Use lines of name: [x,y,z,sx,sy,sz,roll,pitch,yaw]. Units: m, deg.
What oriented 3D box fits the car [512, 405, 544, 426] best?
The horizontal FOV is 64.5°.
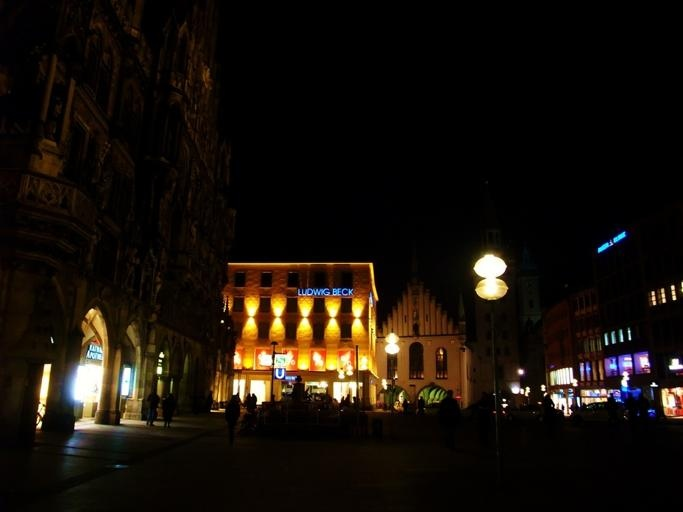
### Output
car: [14.752,12.714,42.962,2.893,1.557,1.882,4,-22,7]
